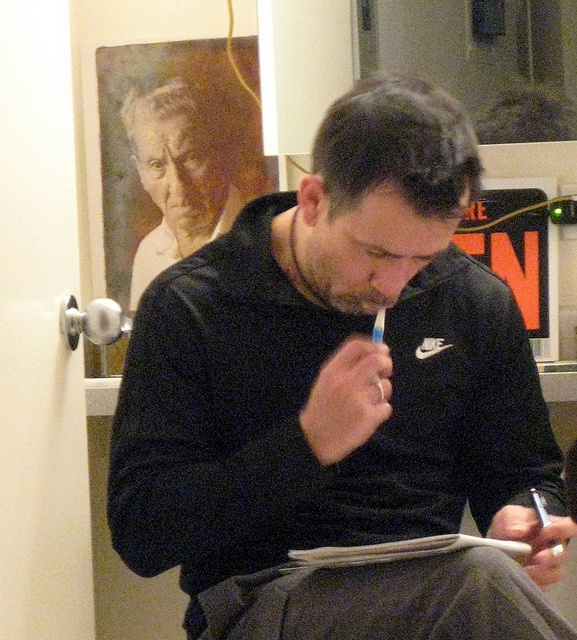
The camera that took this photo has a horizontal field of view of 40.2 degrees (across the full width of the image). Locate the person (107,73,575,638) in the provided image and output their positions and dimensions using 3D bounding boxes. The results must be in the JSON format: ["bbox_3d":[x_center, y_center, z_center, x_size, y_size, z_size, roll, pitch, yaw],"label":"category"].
[{"bbox_3d":[0.096,0.041,1.053,0.480,0.708,0.564,-2,6,40],"label":"person"}]

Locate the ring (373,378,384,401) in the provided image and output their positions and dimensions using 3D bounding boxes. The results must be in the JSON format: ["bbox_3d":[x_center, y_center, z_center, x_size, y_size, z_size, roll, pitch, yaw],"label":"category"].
[{"bbox_3d":[0.110,0.085,0.955,0.008,0.024,0.021,-15,-33,3],"label":"ring"}]
